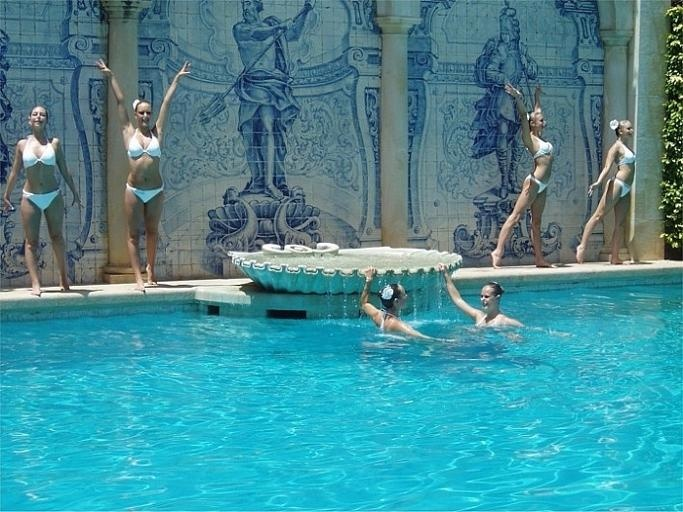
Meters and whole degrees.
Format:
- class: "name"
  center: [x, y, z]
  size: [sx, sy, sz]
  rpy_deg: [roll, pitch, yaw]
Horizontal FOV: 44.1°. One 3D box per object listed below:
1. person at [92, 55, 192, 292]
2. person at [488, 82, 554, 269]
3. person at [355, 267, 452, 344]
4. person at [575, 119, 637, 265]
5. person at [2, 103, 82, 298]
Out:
- class: "person"
  center: [-2.255, -0.871, 9.678]
  size: [0.779, 2.524, 0.585]
  rpy_deg: [-5, 13, -17]
- class: "person"
  center: [2.536, -1.077, 11.577]
  size: [0.876, 2.486, 0.587]
  rpy_deg: [-5, 13, -18]
- class: "person"
  center: [0.540, 0.441, 8.189]
  size: [0.463, 0.538, 1.186]
  rpy_deg: [-6, 14, -22]
- class: "person"
  center: [3.853, -0.921, 12.163]
  size: [0.704, 2.031, 1.405]
  rpy_deg: [4, 13, 19]
- class: "person"
  center: [-3.300, -0.609, 9.252]
  size: [0.747, 2.004, 0.543]
  rpy_deg: [-5, 13, -18]
